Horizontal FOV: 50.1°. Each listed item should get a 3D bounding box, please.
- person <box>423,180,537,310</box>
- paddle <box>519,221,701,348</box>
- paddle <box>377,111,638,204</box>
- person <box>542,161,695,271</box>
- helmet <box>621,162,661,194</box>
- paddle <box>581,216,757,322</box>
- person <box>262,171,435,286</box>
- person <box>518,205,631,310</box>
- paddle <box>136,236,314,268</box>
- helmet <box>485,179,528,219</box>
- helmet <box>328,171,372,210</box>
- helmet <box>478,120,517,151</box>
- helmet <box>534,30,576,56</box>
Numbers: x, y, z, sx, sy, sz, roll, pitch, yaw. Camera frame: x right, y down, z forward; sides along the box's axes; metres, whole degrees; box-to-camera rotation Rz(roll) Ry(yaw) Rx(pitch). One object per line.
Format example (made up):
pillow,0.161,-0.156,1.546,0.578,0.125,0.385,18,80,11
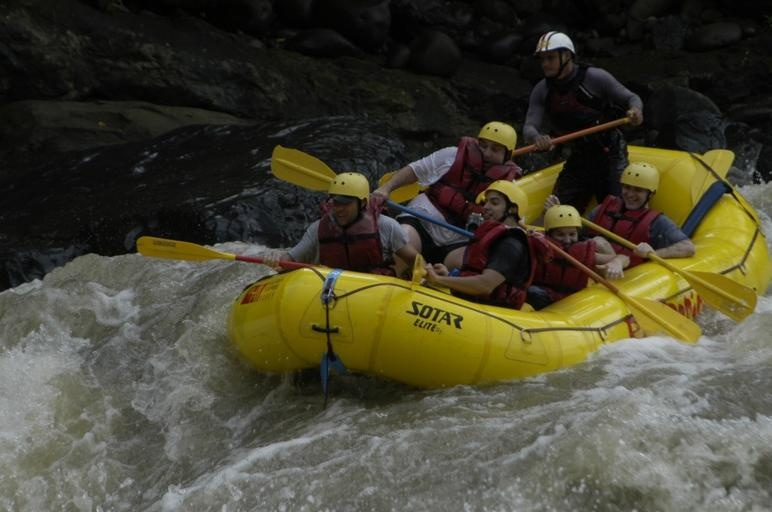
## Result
person,0.820,-0.137,6.874,1.039,1.079,0.975,9,2,-2
paddle,1.858,0.279,6.949,2.109,0.097,0.437,33,39,23
paddle,1.169,-0.984,8.297,3.052,0.246,0.418,-21,52,1
person,2.087,-0.303,7.633,0.816,1.027,1.420,-9,23,-44
helmet,2.355,-0.712,7.648,0.247,0.242,0.319,20,-4,44
paddle,2.441,0.150,7.219,1.585,0.271,0.130,32,2,0
person,-0.160,-0.165,7.168,1.243,1.501,0.882,-1,6,19
person,1.541,0.043,7.051,0.690,0.943,0.374,19,15,9
paddle,-1.527,-0.034,7.504,1.604,0.215,0.071,8,14,14
helmet,1.036,-0.469,7.006,0.351,0.273,0.296,12,9,-11
helmet,-0.289,-0.564,6.853,0.228,0.293,0.223,10,71,48
helmet,1.043,-1.087,7.513,0.238,0.318,0.242,28,80,29
helmet,1.655,-2.105,8.034,0.388,0.212,0.295,1,4,-16
